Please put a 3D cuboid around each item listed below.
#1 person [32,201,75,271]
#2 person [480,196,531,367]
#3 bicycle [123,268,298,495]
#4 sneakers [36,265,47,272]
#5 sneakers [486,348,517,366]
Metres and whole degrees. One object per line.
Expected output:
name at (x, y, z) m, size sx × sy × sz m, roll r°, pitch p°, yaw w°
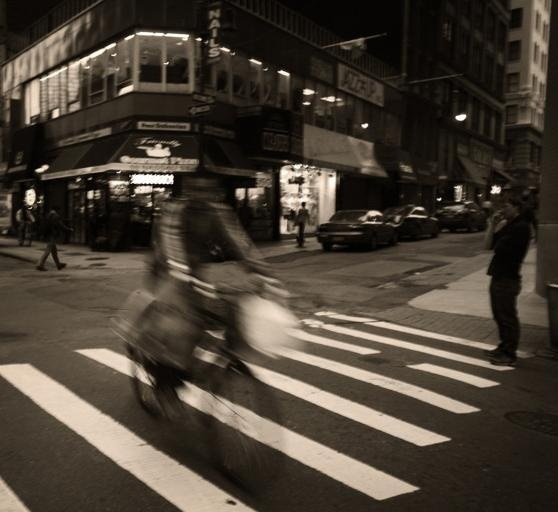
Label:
person at (-6.000, -0.473, 17.599) m, size 0.762 × 1.625 × 2.707 m, roll -1°, pitch 2°, yaw -18°
person at (2.772, 0.302, 7.952) m, size 0.497 × 1.980 × 0.540 m, roll 0°, pitch 2°, yaw 19°
bicycle at (-0.603, 0.820, 5.245) m, size 0.905 × 1.289 × 1.955 m, roll 9°, pitch -1°, yaw -42°
sneakers at (-5.933, 0.294, 16.564) m, size 0.103 × 0.223 × 0.324 m, roll 9°, pitch 13°, yaw 22°
sneakers at (2.674, 1.216, 7.955) m, size 0.322 × 0.164 × 0.140 m, roll 8°, pitch 4°, yaw 40°
